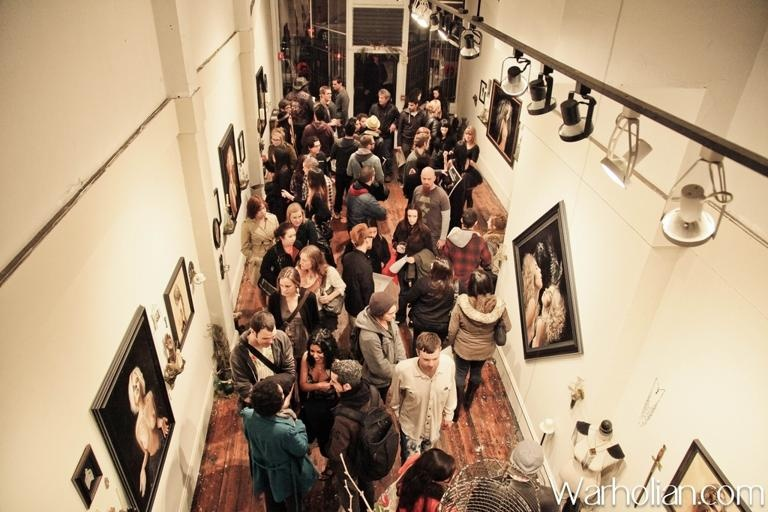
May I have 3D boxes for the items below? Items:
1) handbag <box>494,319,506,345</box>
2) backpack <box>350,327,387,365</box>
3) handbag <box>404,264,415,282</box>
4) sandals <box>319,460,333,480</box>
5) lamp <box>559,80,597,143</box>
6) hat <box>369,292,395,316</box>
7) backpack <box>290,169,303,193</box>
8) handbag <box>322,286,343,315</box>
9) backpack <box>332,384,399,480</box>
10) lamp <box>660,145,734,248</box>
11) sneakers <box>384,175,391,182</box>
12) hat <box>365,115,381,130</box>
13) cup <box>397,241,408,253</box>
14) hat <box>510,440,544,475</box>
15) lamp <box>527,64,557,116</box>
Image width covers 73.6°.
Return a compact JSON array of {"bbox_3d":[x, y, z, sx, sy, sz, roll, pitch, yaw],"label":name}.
[{"bbox_3d":[1.281,0.831,5.678,0.086,0.204,0.234,0,-57,2],"label":"handbag"},{"bbox_3d":[-0.175,0.914,5.319,0.390,0.312,0.341,-3,-27,6],"label":"backpack"},{"bbox_3d":[0.366,0.220,6.836,0.133,0.198,0.071,2,2,9],"label":"handbag"},{"bbox_3d":[-0.614,2.286,5.513,0.129,0.222,0.353,3,-28,-7],"label":"sandals"},{"bbox_3d":[1.491,-1.157,4.020,0.256,0.289,0.415,-14,-57,14],"label":"lamp"},{"bbox_3d":[-0.030,0.488,5.156,0.220,0.225,0.193,23,-41,26],"label":"hat"},{"bbox_3d":[-1.371,-1.170,8.164,0.215,0.370,0.346,3,-22,-8],"label":"backpack"},{"bbox_3d":[-0.616,0.520,5.983,0.278,0.278,0.238,3,-27,-7],"label":"handbag"},{"bbox_3d":[-0.174,1.552,4.517,0.580,0.745,0.405,4,-26,-8],"label":"backpack"},{"bbox_3d":[1.863,-0.371,3.025,0.308,0.341,0.574,-23,-52,-19],"label":"lamp"},{"bbox_3d":[0.096,-1.690,11.247,0.119,0.140,0.094,3,7,11],"label":"sneakers"},{"bbox_3d":[-0.256,-2.637,10.016,0.250,0.316,0.093,-9,-4,-22],"label":"hat"},{"bbox_3d":[0.245,-0.111,6.949,0.116,0.150,0.123,-2,17,1],"label":"cup"},{"bbox_3d":[1.207,1.757,4.454,0.355,0.299,0.233,13,-29,-24],"label":"hat"},{"bbox_3d":[1.417,-1.547,4.634,0.266,0.490,0.272,4,14,26],"label":"lamp"}]
